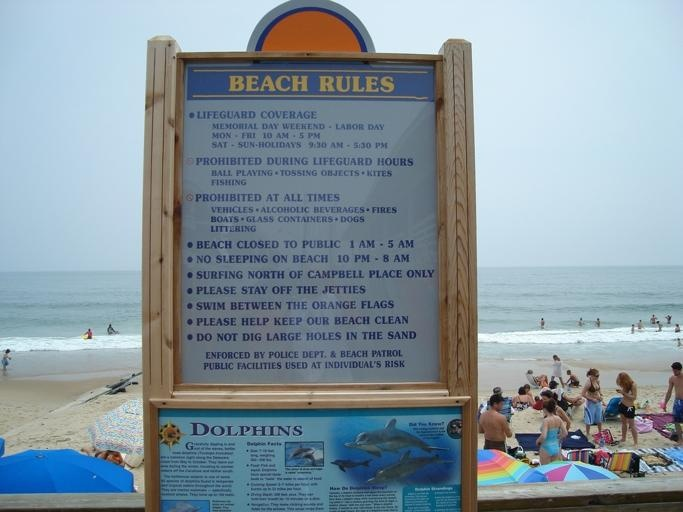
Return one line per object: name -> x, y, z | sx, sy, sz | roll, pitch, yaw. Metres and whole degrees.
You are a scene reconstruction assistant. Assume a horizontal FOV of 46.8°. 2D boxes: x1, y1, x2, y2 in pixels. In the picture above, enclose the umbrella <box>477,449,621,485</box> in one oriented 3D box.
umbrella -> 4.804, 5.329, 19.558 | 2.821, 0.485, 1.082 | 2, 6, 13
